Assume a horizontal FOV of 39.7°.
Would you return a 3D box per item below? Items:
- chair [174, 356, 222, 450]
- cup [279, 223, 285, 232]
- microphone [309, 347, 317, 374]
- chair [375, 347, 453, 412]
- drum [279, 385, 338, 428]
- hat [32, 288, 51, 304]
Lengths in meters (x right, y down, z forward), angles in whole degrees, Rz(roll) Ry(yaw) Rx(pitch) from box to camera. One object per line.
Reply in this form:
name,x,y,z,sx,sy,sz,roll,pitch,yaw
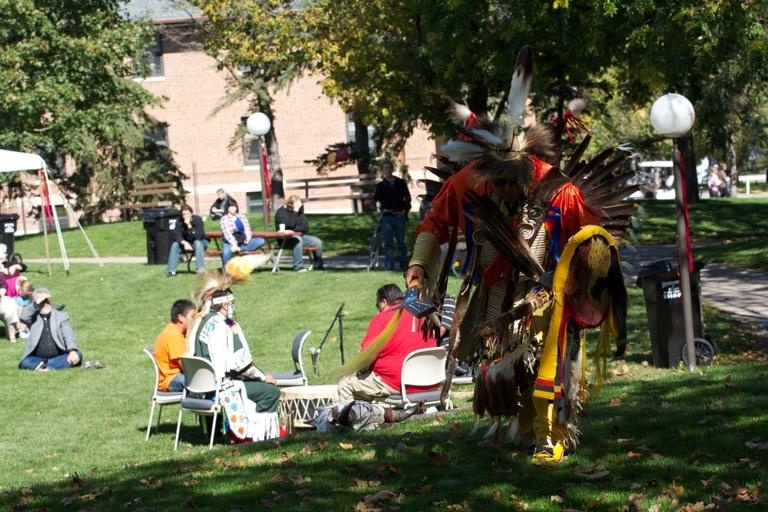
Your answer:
chair,-2.944,2.342,17.239,1.031,1.454,0.754,-3,1,44
cup,-2.579,-0.718,27.318,0.176,0.216,0.187,0,-7,0
microphone,-1.212,1.906,18.796,0.148,0.557,0.151,-3,6,-38
chair,0.593,1.962,16.952,0.854,1.375,0.975,0,2,-27
drum,-1.265,2.382,17.261,0.721,0.458,0.719,0,-5,0
hat,-6.718,0.799,21.058,0.269,0.363,0.356,-5,-15,-18
